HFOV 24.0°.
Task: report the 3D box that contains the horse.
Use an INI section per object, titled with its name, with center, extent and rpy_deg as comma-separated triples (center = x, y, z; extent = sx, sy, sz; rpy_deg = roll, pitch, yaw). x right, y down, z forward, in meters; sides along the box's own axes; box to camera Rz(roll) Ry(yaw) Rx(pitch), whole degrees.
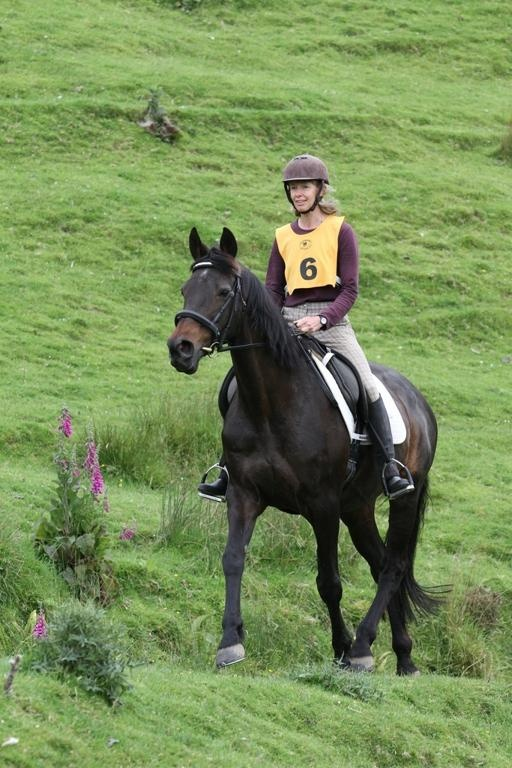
[horse]
center = 0.454, 0.702, 8.994
extent = 1.038, 3.693, 3.038
rpy_deg = 12, 14, 38

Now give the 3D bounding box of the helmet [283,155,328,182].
[helmet]
center = 0.375, -1.640, 9.205
extent = 0.335, 0.219, 0.256
rpy_deg = 4, 12, -1

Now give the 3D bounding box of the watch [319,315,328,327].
[watch]
center = 0.503, -0.470, 9.001
extent = 0.057, 0.090, 0.078
rpy_deg = -7, -2, -10
